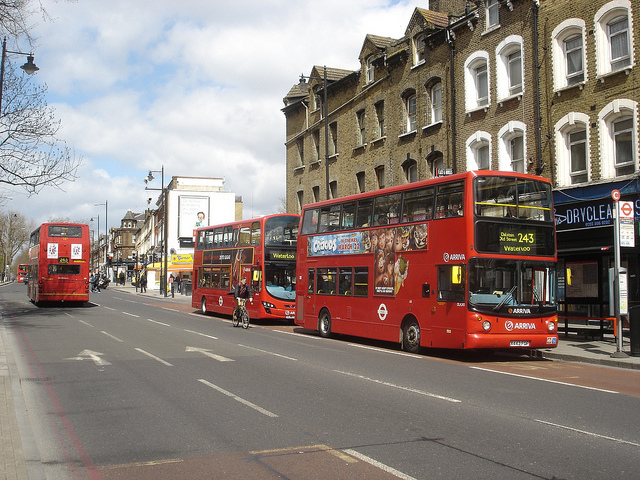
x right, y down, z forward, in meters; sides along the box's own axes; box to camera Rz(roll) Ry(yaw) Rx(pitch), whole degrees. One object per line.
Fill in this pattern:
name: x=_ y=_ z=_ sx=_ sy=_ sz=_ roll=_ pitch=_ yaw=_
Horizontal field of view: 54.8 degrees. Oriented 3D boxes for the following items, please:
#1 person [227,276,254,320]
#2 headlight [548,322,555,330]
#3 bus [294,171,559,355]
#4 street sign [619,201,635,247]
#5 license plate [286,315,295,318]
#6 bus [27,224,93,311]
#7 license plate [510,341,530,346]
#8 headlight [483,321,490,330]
person: x=-3.408 y=2.498 z=26.942 sx=0.976 sy=1.160 sz=1.697 roll=4 pitch=-14 yaw=-22
headlight: x=6.444 y=2.393 z=17.268 sx=0.155 sy=0.188 sz=0.040 roll=7 pitch=-6 yaw=-11
bus: x=2.494 y=0.897 z=21.051 sx=2.884 sy=5.393 sz=11.072 roll=1 pitch=-2 yaw=-36
street sign: x=8.972 y=-0.490 z=18.146 sx=0.594 sy=1.306 sz=0.156 roll=1 pitch=-1 yaw=-30
license plate: x=-1.385 y=3.470 z=28.206 sx=0.342 sy=0.123 sz=0.129 roll=1 pitch=-1 yaw=-4
bus: x=-15.504 y=1.587 z=36.738 sx=2.683 sy=4.942 sz=5.067 roll=1 pitch=-2 yaw=-34
license plate: x=5.415 y=2.813 z=16.824 sx=0.646 sy=0.140 sz=0.029 roll=1 pitch=-1 yaw=-22
headlight: x=4.436 y=2.279 z=16.546 sx=0.189 sy=0.216 sz=0.047 roll=1 pitch=-1 yaw=-20
